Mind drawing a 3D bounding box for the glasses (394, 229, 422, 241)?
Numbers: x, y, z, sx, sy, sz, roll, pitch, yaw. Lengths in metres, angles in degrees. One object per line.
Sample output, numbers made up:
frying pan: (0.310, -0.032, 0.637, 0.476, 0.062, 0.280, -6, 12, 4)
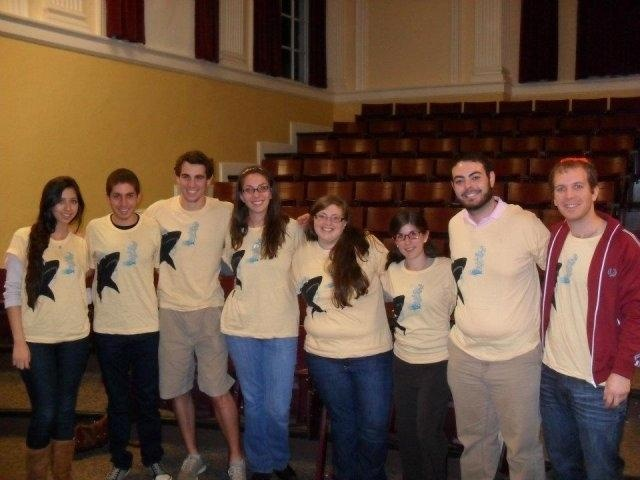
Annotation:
glasses: (0.454, -0.024, 2.789, 0.126, 0.052, 0.034, -2, 7, 1)

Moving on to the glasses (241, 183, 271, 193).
glasses: (-0.345, -0.281, 2.960, 0.161, 0.060, 0.041, -3, 7, -8)
